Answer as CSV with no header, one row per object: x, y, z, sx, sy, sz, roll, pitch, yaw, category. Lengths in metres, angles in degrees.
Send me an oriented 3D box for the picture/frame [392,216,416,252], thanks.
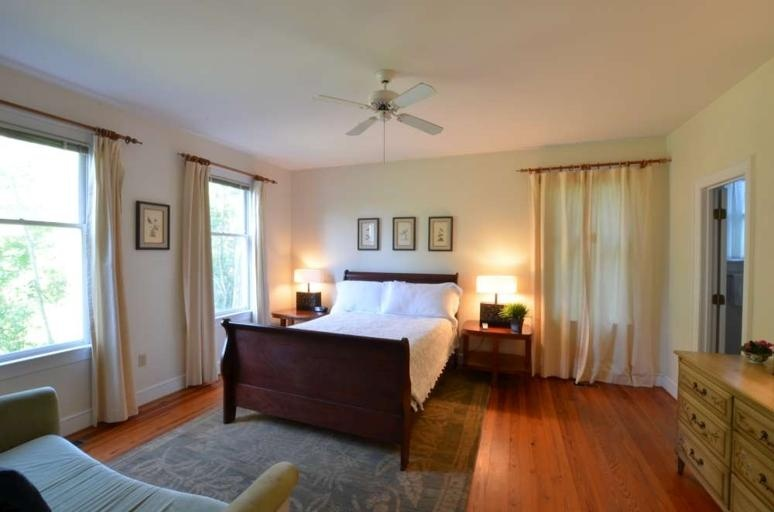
0.248,-0.315,7.353,0.479,0.660,0.033,-1,-3,23,picture/frame

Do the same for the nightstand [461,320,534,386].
1.383,1.205,6.660,0.822,0.548,0.698,-1,-3,18,nightstand

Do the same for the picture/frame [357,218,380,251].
-0.277,-0.311,7.544,0.335,0.467,0.019,-1,5,-21,picture/frame

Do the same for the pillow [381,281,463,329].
0.434,0.602,6.962,0.862,0.547,0.263,3,-9,23,pillow

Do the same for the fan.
0.009,-1.507,5.317,1.053,0.556,1.098,-1,1,11,fan

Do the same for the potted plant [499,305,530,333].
1.601,0.784,6.655,0.315,0.380,0.343,4,-6,-36,potted plant

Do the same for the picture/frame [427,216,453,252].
0.735,-0.306,7.164,0.478,0.662,0.027,-1,-3,21,picture/frame

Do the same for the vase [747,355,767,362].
3.254,0.907,4.615,0.077,0.033,0.078,1,-4,-1,vase

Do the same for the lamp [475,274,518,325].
1.408,0.555,6.659,0.562,0.726,0.372,-4,-10,34,lamp
